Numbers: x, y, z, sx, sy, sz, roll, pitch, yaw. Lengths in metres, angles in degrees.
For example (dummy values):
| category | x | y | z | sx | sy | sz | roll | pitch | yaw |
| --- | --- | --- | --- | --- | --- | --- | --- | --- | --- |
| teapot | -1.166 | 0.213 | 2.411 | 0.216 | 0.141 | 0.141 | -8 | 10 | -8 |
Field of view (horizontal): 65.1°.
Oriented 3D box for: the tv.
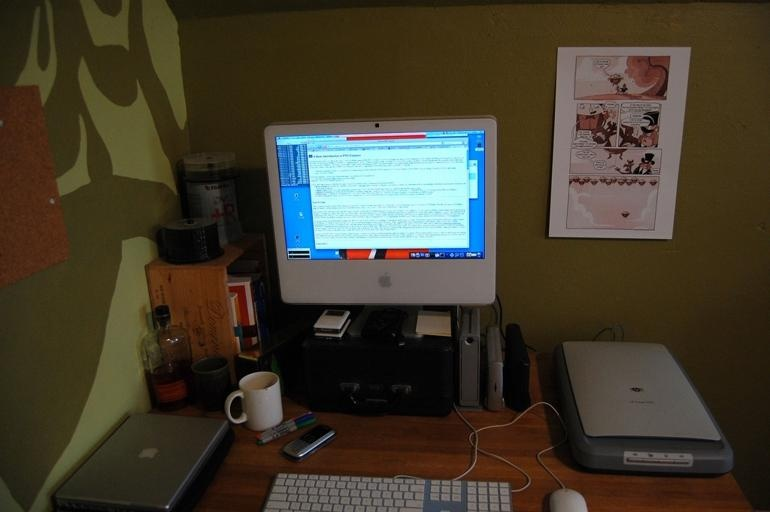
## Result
| category | x | y | z | sx | sy | sz | roll | pitch | yaw |
| --- | --- | --- | --- | --- | --- | --- | --- | --- | --- |
| tv | 0.002 | -0.092 | 1.760 | 0.683 | 0.570 | 0.049 | -1 | 10 | 3 |

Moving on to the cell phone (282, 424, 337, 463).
| category | x | y | z | sx | sy | sz | roll | pitch | yaw |
| --- | --- | --- | --- | --- | --- | --- | --- | --- | --- |
| cell phone | -0.206 | 0.501 | 1.655 | 0.067 | 0.017 | 0.119 | 17 | 31 | 35 |
